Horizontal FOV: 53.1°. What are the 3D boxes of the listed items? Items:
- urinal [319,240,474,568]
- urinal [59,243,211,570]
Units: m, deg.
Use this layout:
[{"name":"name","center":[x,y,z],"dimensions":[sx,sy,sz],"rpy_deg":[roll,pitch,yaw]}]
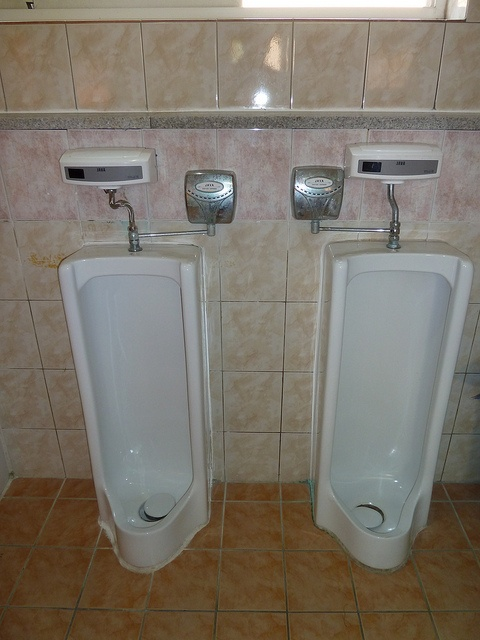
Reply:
[{"name":"urinal","center":[0.415,0.251,1.390],"dimensions":[0.367,0.906,0.386],"rpy_deg":[2,24,3]},{"name":"urinal","center":[-0.264,0.273,1.373],"dimensions":[0.335,0.911,0.294],"rpy_deg":[-12,27,-25]}]
